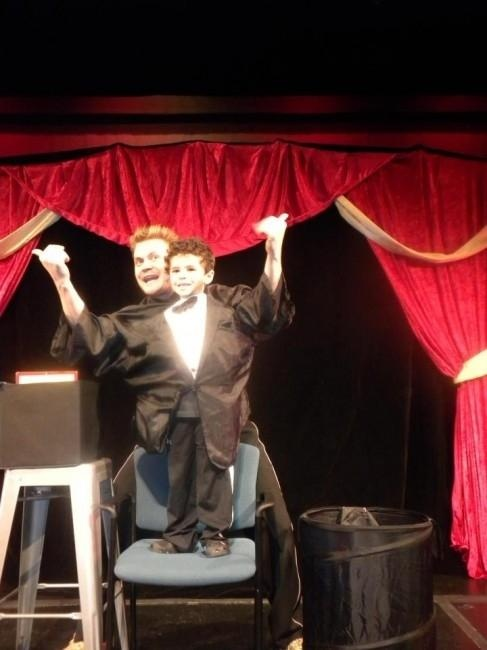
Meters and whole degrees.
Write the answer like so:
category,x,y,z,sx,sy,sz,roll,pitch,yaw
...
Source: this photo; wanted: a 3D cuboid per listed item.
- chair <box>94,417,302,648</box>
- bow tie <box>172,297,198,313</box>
category,x,y,z,sx,sy,sz,roll,pitch,yaw
chair,-0.051,0.711,2.451,0.757,0.832,0.618,-2,-26,4
bow tie,-0.186,-0.058,2.455,0.059,0.016,0.056,-25,23,20
